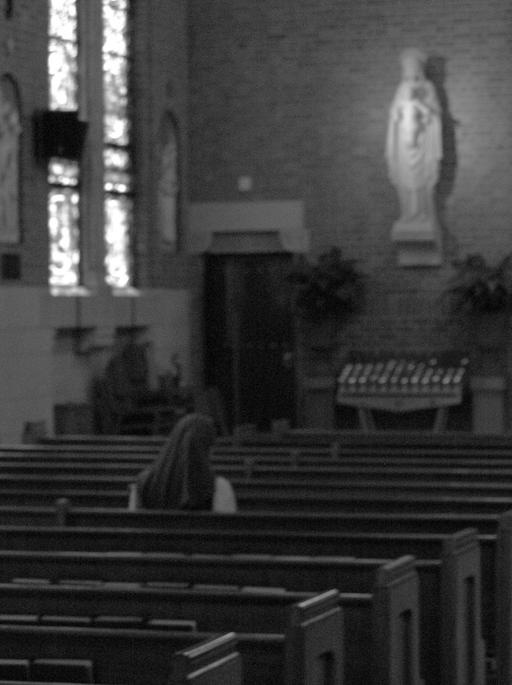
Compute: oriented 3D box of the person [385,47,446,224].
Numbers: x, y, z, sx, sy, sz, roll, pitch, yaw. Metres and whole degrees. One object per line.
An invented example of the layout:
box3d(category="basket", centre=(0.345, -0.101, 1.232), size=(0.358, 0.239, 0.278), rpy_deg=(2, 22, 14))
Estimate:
box3d(category="person", centre=(1.027, -1.270, 11.111), size=(0.328, 1.159, 0.253), rpy_deg=(-3, -17, 12))
